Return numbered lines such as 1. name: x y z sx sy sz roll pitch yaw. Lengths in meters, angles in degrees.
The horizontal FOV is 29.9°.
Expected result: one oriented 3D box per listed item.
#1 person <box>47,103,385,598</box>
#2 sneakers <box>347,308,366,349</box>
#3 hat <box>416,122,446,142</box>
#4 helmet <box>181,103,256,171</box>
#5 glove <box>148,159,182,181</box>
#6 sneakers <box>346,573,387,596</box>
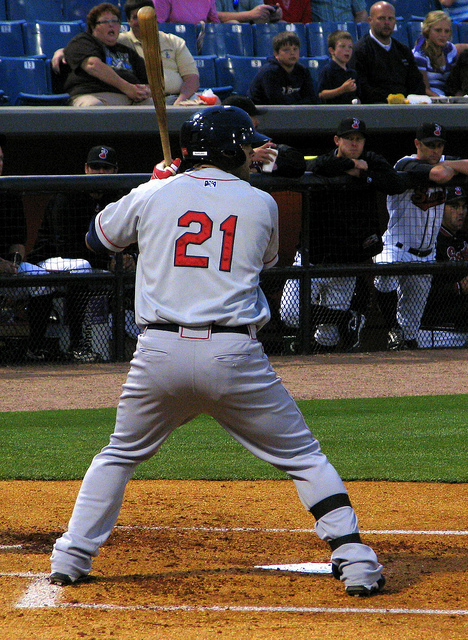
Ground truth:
1. person: -0.039 0.165 2.599 0.958 1.237 0.319 1 5 8
2. sneakers: 0.915 0.070 6.571 0.071 0.230 0.149 -6 15 -35
3. hat: 1.433 -1.369 6.403 0.193 0.137 0.175 1 4 6
4. helmet: -0.048 -0.559 2.742 0.296 0.191 0.218 0 5 -26
5. glove: -0.215 -0.481 2.836 0.091 0.039 0.108 1 35 17
6. sneakers: 0.377 0.767 2.505 0.050 0.056 0.128 3 7 27
